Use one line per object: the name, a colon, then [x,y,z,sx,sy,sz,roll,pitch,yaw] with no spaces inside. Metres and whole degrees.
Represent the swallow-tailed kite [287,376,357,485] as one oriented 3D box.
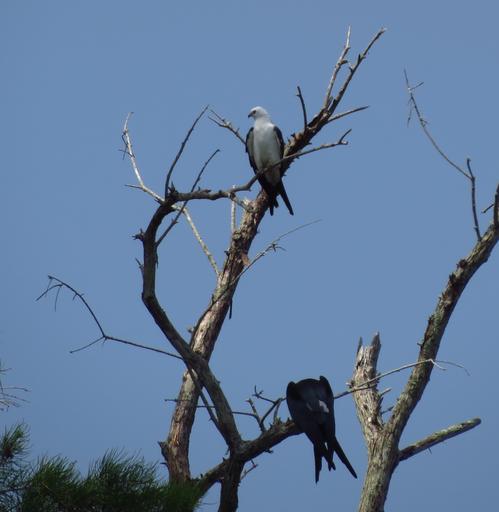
swallow-tailed kite: [0.651,1.571,11.308,0.334,1.157,0.384,2,-54,-11]
